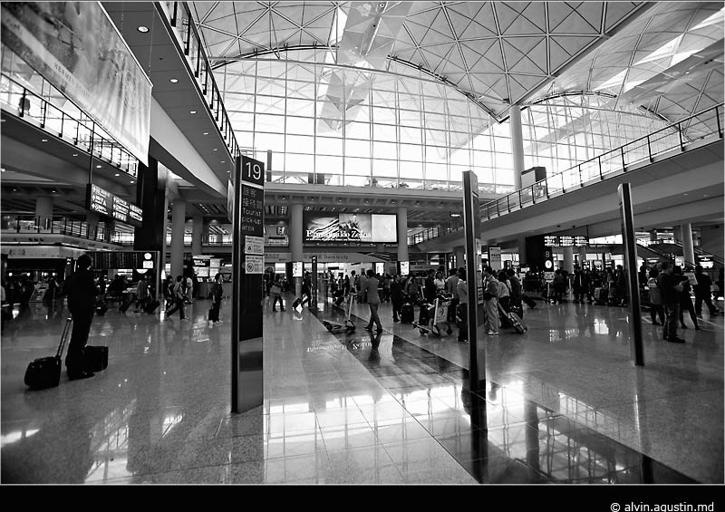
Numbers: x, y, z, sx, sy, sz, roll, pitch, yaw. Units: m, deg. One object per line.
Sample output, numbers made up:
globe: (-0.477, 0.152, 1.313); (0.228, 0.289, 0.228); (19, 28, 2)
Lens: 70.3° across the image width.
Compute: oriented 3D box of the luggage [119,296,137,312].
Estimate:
luggage: (-10.281, 2.023, 22.326); (0.859, 0.214, 0.613); (8, -14, 44)

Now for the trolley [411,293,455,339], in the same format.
trolley: (2.117, 1.860, 15.864); (0.602, 1.052, 1.763); (2, -6, -25)

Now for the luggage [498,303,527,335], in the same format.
luggage: (4.403, 1.815, 15.193); (0.670, 0.826, 1.153); (0, -3, -5)

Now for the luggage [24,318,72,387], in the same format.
luggage: (-6.717, 1.994, 10.971); (0.775, 1.402, 2.096); (2, -4, -31)
